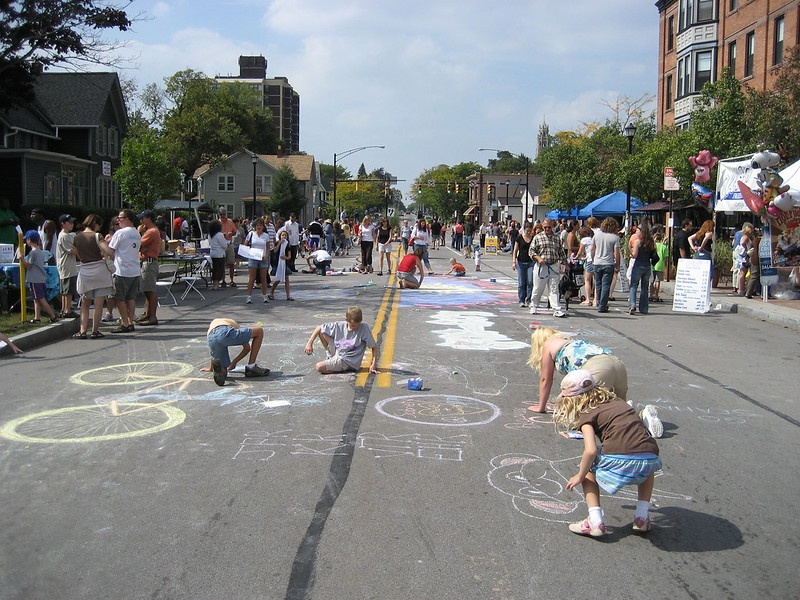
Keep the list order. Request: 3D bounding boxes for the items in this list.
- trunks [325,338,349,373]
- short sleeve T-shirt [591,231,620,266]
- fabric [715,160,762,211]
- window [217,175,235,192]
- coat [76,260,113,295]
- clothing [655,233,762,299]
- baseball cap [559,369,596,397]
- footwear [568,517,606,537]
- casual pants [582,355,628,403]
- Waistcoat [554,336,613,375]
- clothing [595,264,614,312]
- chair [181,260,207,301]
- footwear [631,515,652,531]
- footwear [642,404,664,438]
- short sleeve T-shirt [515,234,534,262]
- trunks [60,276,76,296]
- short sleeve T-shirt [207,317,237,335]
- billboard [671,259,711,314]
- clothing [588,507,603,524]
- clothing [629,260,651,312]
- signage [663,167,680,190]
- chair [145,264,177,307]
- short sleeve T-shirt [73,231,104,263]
[{"bbox_3d":[-0.878,0.763,9.366,0.219,0.322,0.347,11,18,7],"label":"trunks"},{"bbox_3d":[4.821,-1.230,15.911,0.621,0.815,0.425,5,13,30],"label":"short sleeve T-shirt"},{"bbox_3d":[9.482,-3.188,18.893,0.143,1.638,1.365,-2,10,-27],"label":"fabric"},{"bbox_3d":[-20.012,-13.559,77.795,1.668,1.932,0.174,1,0,-8],"label":"window"},{"bbox_3d":[-5.417,-0.410,12.073,0.588,0.668,0.398,0,-2,-8],"label":"coat"},{"bbox_3d":[9.457,-1.082,20.403,2.049,2.430,2.544,1,1,32],"label":"clothing"},{"bbox_3d":[1.329,0.627,5.098,0.237,0.127,0.174,-32,18,-35],"label":"baseball cap"},{"bbox_3d":[1.370,1.657,5.002,0.273,0.144,0.112,1,-1,26],"label":"footwear"},{"bbox_3d":[1.623,0.638,5.404,0.268,0.408,0.211,-20,5,-42],"label":"casual pants"},{"bbox_3d":[1.624,0.515,6.226,0.275,0.220,0.451,-18,-1,-11],"label":"Waistcoat"},{"bbox_3d":[4.817,-0.339,16.119,0.442,1.216,0.381,5,7,39],"label":"clothing"},{"bbox_3d":[-6.009,-0.625,19.562,0.762,1.175,0.654,0,6,-33],"label":"chair"},{"bbox_3d":[1.796,1.678,5.042,0.067,0.086,0.182,0,-2,16],"label":"footwear"},{"bbox_3d":[2.521,1.222,6.761,0.134,0.420,0.179,-10,-26,9],"label":"footwear"},{"bbox_3d":[2.968,-1.241,16.156,0.639,0.716,0.372,0,1,-18],"label":"short sleeve T-shirt"},{"bbox_3d":[-6.619,-0.298,13.449,0.317,0.352,0.203,1,-6,-2],"label":"trunks"},{"bbox_3d":[-2.515,0.377,9.504,0.295,0.249,0.416,-5,-5,6],"label":"short sleeve T-shirt"},{"bbox_3d":[7.194,-0.446,16.755,0.862,1.264,0.754,9,34,23],"label":"billboard"},{"bbox_3d":[1.425,1.583,4.939,0.065,0.130,0.125,-2,14,-2],"label":"clothing"},{"bbox_3d":[5.719,-0.310,16.140,0.434,1.227,0.375,3,11,8],"label":"clothing"},{"bbox_3d":[8.987,-4.062,22.480,0.384,0.715,0.636,4,8,25],"label":"signage"},{"bbox_3d":[-7.527,-0.492,21.394,0.715,1.283,0.891,5,8,23],"label":"chair"},{"bbox_3d":[-5.527,-0.941,12.013,0.524,0.564,0.311,-8,-1,-4],"label":"short sleeve T-shirt"}]
